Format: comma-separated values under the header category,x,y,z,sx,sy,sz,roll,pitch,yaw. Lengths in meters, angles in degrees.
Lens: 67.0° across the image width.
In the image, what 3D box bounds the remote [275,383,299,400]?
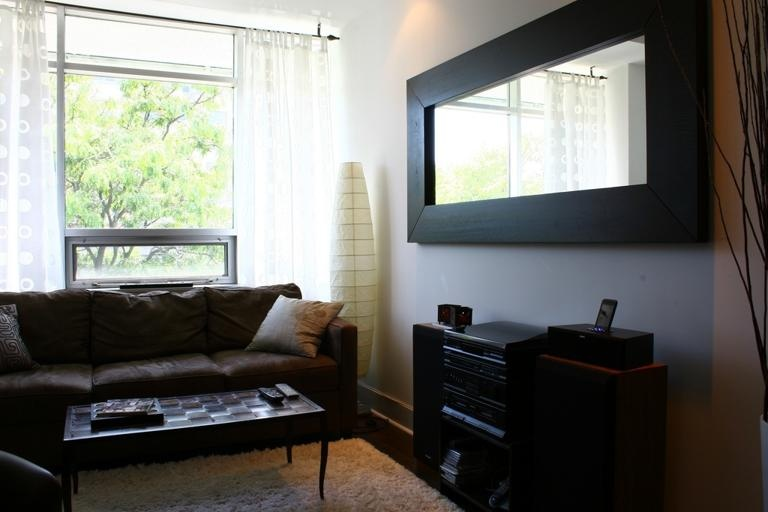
category,x,y,z,sx,sy,sz,roll,pitch,yaw
remote,-0.631,0.879,3.725,0.123,0.039,0.228,4,2,-22

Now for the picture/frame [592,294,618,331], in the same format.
category,x,y,z,sx,sy,sz,roll,pitch,yaw
picture/frame,1.107,0.298,2.917,0.085,0.159,0.016,9,11,-11
